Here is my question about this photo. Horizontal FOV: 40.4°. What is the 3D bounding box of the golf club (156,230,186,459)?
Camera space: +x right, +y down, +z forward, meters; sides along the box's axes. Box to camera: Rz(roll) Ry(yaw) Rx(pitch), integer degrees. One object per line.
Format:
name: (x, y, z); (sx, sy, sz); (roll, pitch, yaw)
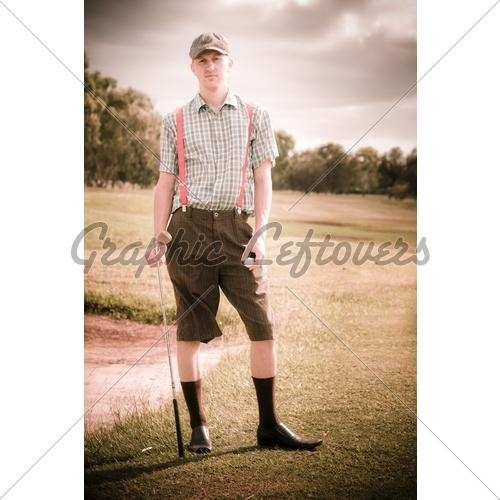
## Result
golf club: (-0.249, 0.388, 2.587); (0.188, 0.730, 0.163); (-8, 20, -24)
